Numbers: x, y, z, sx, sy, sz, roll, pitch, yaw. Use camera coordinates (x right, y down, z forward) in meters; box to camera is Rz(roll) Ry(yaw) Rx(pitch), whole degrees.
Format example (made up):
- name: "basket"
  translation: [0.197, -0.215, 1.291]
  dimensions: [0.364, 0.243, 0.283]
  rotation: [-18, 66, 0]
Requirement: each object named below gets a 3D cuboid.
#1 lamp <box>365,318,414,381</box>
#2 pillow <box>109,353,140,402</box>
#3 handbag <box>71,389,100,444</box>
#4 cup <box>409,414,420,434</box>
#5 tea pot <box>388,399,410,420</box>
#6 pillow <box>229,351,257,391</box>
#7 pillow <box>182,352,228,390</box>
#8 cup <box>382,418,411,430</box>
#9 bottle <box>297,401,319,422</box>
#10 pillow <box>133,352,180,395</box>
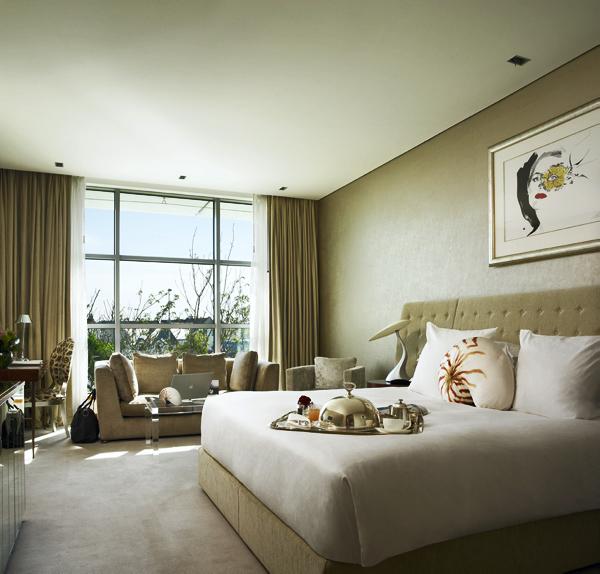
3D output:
- name: "lamp"
  translation: [0.807, 0.614, 4.811]
  dimensions: [0.485, 0.785, 0.522]
  rotation: [1, -7, 4]
- name: "pillow"
  translation: [-1.811, 0.938, 5.117]
  dimensions: [0.158, 0.435, 0.406]
  rotation: [-17, 1, -1]
- name: "handbag"
  translation: [-2.184, 1.304, 4.993]
  dimensions: [0.263, 0.524, 0.234]
  rotation: [1, -4, -26]
- name: "cup"
  translation: [0.526, 0.617, 2.221]
  dimensions: [0.037, 0.070, 0.064]
  rotation: [-1, -11, 14]
- name: "tea pot"
  translation: [0.448, 0.542, 2.231]
  dimensions: [0.074, 0.093, 0.101]
  rotation: [1, 1, -15]
- name: "pillow"
  translation: [-0.654, 0.983, 5.683]
  dimensions: [0.141, 0.290, 0.397]
  rotation: [1, -12, -22]
- name: "pillow"
  translation: [-1.091, 0.932, 5.769]
  dimensions: [0.420, 0.404, 0.440]
  rotation: [3, -3, -14]
- name: "cup"
  translation: [0.421, 0.601, 2.162]
  dimensions: [0.069, 0.032, 0.071]
  rotation: [1, -15, 0]
- name: "bottle"
  translation: [0.061, 0.648, 2.538]
  dimensions: [0.097, 0.103, 0.063]
  rotation: [-5, -7, 38]
- name: "pillow"
  translation: [-1.597, 0.965, 5.425]
  dimensions: [0.342, 0.333, 0.178]
  rotation: [4, -17, -20]
